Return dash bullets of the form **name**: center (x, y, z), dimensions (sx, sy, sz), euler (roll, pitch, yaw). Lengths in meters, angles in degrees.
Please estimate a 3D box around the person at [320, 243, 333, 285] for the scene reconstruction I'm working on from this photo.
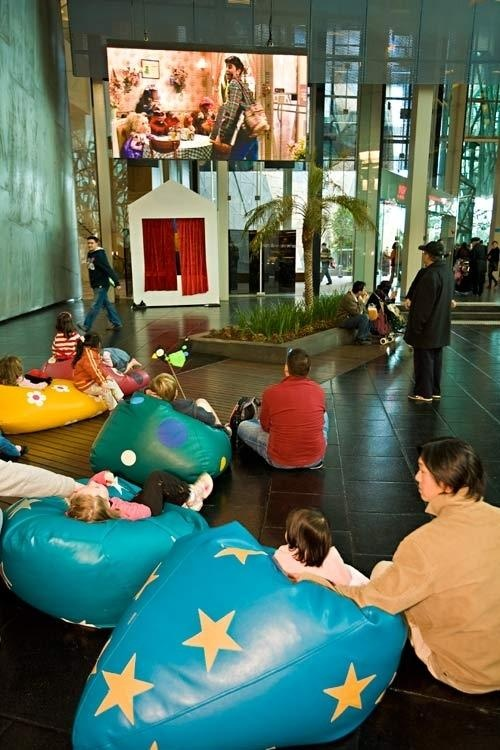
- **person**: center (2.660, -3.837, 18.019), dimensions (0.386, 1.444, 1.515), euler (3, 14, 9)

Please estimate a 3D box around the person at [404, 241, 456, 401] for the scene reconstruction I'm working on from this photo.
- **person**: center (2.031, -0.601, 5.924), dimensions (0.480, 1.787, 0.416), euler (5, 15, 17)

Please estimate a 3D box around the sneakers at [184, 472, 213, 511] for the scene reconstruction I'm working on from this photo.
- **sneakers**: center (-0.337, 0.759, 3.403), dimensions (0.083, 0.105, 0.264), euler (13, 25, 3)

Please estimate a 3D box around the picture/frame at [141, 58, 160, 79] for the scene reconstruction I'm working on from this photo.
- **picture/frame**: center (-2.335, -7.202, 12.149), dimensions (0.432, 0.433, 0.046), euler (1, 11, -10)

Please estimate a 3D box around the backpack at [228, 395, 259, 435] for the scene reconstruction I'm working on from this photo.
- **backpack**: center (-0.064, 0.352, 4.612), dimensions (0.201, 0.373, 0.089), euler (31, -2, 11)

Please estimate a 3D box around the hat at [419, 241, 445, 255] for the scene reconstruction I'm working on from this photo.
- **hat**: center (2.026, -1.406, 5.776), dimensions (0.210, 0.159, 0.354), euler (-3, 14, -15)

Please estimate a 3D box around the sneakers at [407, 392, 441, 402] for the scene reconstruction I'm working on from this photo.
- **sneakers**: center (2.048, 0.263, 6.070), dimensions (0.346, 0.149, 0.129), euler (-1, 7, 17)

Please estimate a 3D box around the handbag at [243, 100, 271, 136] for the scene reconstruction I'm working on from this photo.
- **handbag**: center (0.161, -6.302, 12.614), dimensions (0.334, 0.645, 0.480), euler (-7, 36, 32)

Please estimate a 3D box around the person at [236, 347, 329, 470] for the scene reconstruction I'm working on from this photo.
- **person**: center (0.331, 0.208, 4.142), dimensions (0.741, 0.882, 0.682), euler (-8, 21, -26)
